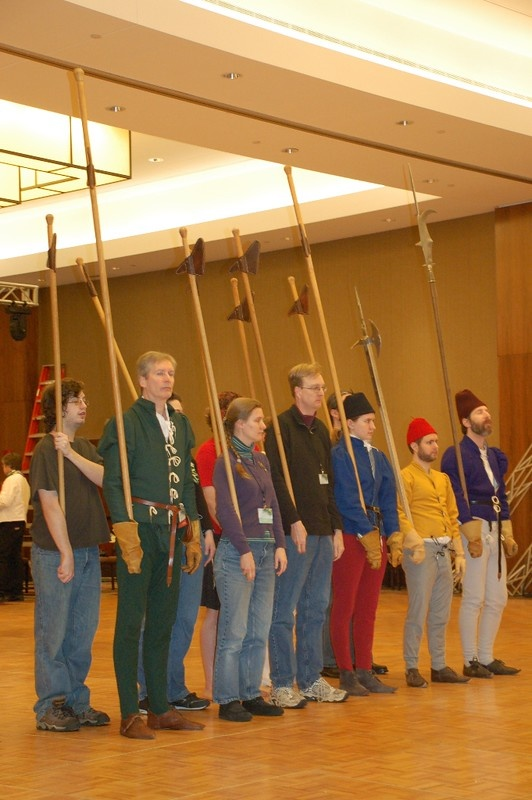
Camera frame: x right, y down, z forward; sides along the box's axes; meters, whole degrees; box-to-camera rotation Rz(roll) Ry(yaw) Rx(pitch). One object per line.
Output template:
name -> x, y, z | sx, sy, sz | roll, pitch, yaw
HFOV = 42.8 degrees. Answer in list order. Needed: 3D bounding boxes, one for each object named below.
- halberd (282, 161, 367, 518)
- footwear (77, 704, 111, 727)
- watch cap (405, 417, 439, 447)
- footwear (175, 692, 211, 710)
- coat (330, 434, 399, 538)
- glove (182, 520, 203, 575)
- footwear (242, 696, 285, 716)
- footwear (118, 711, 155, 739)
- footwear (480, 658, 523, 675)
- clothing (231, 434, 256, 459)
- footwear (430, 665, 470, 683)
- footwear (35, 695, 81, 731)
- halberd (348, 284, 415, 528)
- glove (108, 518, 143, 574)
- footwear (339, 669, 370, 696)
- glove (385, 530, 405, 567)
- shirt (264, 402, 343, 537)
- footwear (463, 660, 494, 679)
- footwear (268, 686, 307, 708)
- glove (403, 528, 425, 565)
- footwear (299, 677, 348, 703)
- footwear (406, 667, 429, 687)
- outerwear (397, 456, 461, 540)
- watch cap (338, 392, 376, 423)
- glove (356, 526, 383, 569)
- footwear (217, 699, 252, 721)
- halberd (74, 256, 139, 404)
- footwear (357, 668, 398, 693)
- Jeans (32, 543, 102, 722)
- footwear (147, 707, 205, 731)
halberd -> 0.618, -0.906, 6.508 | 0.192, 3.895, 0.389 | -17, -4, 20
footwear -> -0.688, 1.258, 2.716 | 0.159, 0.070, 0.059 | -3, -5, 24
watch cap -> 0.851, 0.172, 3.798 | 0.181, 0.159, 0.177 | -12, -2, -32
footwear -> -0.318, 1.336, 3.026 | 0.182, 0.074, 0.064 | -1, -8, 10
coat -> 0.483, 0.448, 3.372 | 0.298, 0.521, 0.416 | -22, -23, 40
glove -> -0.291, 0.557, 2.662 | 0.084, 0.197, 0.061 | -14, -16, 20
footwear -> -0.015, 1.293, 2.884 | 0.187, 0.076, 0.067 | -3, -5, 15
footwear -> -0.475, 1.162, 2.445 | 0.068, 0.060, 0.157 | -2, -5, -45
footwear -> 1.349, 1.543, 3.910 | 0.249, 0.088, 0.089 | 2, -2, 12
clothing -> -0.104, 0.211, 2.983 | 0.078, 0.073, 0.105 | 26, 6, -41
footwear -> 0.987, 1.476, 3.660 | 0.221, 0.084, 0.073 | -2, -11, 13
footwear -> -0.790, 1.229, 2.664 | 0.235, 0.139, 0.085 | -11, -14, 33
halberd -> 1.147, -0.097, 6.391 | 0.499, 2.740, 0.101 | -18, 6, -43
glove -> -0.478, 0.497, 2.316 | 0.109, 0.171, 0.049 | -1, -8, -44
footwear -> 0.414, 1.374, 3.284 | 0.182, 0.117, 0.073 | -7, -11, 31
glove -> 0.625, 0.725, 3.299 | 0.063, 0.150, 0.155 | 5, -7, -3
shirt -> 0.195, 0.348, 3.244 | 0.395, 0.561, 0.220 | 6, -16, -35
footwear -> 1.183, 1.492, 3.767 | 0.142, 0.061, 0.082 | -5, -6, 34
footwear -> 0.094, 1.315, 3.023 | 0.154, 0.062, 0.078 | -8, -10, 40
glove -> 0.759, 0.749, 3.468 | 0.088, 0.174, 0.139 | -13, -9, 35
footwear -> 0.273, 1.345, 3.153 | 0.190, 0.088, 0.095 | -1, -6, 10
footwear -> 0.769, 1.443, 3.506 | 0.099, 0.059, 0.156 | -11, -8, 6
outerwear -> 0.883, 0.549, 3.668 | 0.381, 0.390, 0.210 | 15, -36, -37
watch cap -> 0.484, 0.030, 3.582 | 0.171, 0.122, 0.126 | -9, -5, 31
glove -> 0.517, 0.736, 3.304 | 0.113, 0.200, 0.166 | -12, -8, 6
footwear -> -0.126, 1.272, 2.799 | 0.059, 0.070, 0.170 | 5, -10, -42
halberd -> -2.266, -1.033, 9.868 | 0.131, 2.637, 0.151 | -23, 1, 17
footwear -> 0.561, 1.406, 3.393 | 0.213, 0.137, 0.083 | -4, -7, 8
Jeans -> -0.781, 0.913, 2.703 | 0.316, 0.697, 0.298 | -7, -8, -26
footwear -> -0.357, 1.231, 2.633 | 0.250, 0.093, 0.081 | 0, -5, -1
